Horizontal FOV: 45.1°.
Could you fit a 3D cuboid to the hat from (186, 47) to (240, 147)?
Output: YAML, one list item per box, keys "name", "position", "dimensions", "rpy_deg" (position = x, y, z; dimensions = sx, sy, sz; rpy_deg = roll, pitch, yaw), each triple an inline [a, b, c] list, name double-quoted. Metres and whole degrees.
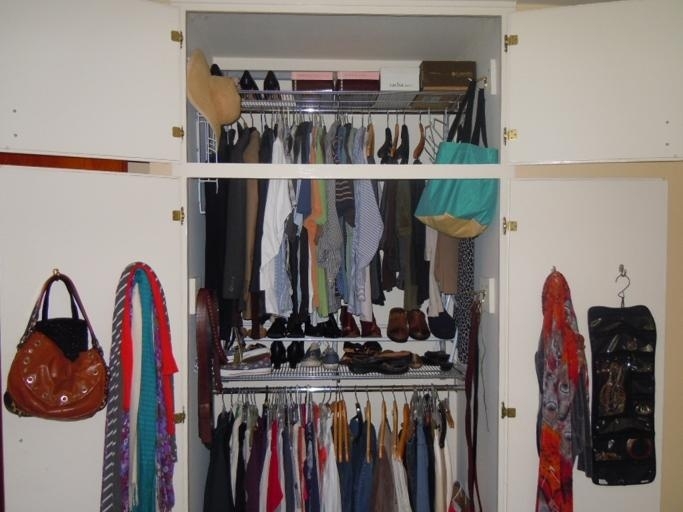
- name: "hat"
  position: [-0.687, -0.826, 4.295]
  dimensions: [0.185, 0.482, 0.447]
  rpy_deg: [-1, -5, 27]

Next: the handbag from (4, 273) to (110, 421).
- name: "handbag"
  position: [-1.366, 0.445, 3.906]
  dimensions: [0.501, 0.893, 0.292]
  rpy_deg: [3, -8, -27]

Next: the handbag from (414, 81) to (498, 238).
- name: "handbag"
  position: [0.637, -0.498, 4.335]
  dimensions: [0.357, 0.849, 0.232]
  rpy_deg: [10, -5, 32]

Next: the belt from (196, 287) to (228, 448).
- name: "belt"
  position: [-0.689, 0.573, 4.240]
  dimensions: [0.109, 0.676, 0.373]
  rpy_deg: [4, -7, 2]
